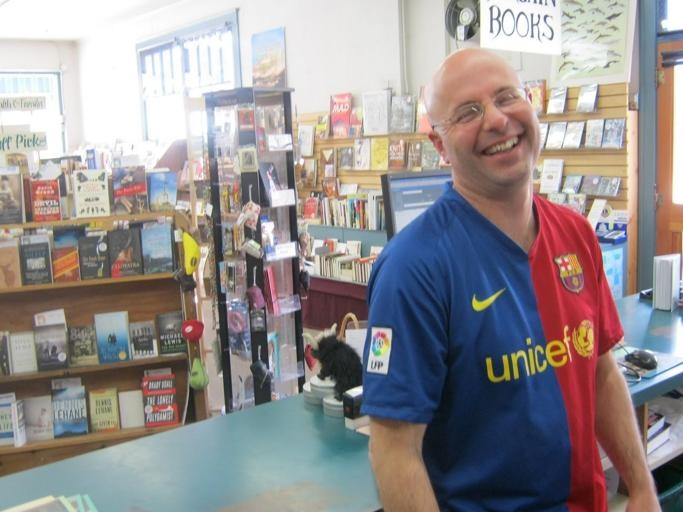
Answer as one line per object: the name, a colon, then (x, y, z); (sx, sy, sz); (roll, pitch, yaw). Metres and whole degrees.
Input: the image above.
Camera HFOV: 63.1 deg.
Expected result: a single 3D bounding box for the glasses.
glasses: (0.386, -0.400, 1.532); (0.269, 0.105, 0.099); (-8, 11, -14)
